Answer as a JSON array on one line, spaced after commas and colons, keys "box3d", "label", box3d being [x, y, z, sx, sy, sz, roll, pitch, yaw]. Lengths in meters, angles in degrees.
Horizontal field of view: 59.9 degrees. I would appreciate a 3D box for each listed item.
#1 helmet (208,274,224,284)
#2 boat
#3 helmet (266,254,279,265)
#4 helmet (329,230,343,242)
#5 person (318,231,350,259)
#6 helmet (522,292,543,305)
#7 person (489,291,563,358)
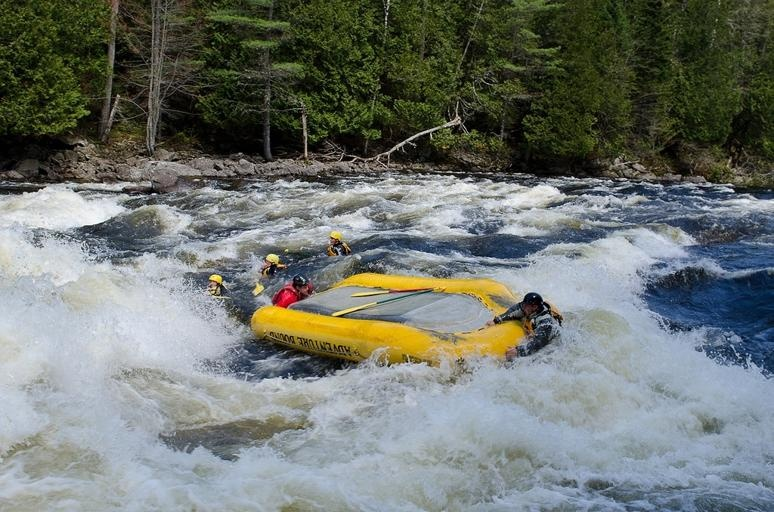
[{"box3d": [-3.853, 0.519, 14.962, 0.282, 0.191, 0.216, 31, 10, 33], "label": "helmet"}, {"box3d": [-0.060, 1.215, 12.799, 3.692, 0.779, 2.662, 1, 5, 27], "label": "boat"}, {"box3d": [-2.766, 0.074, 16.122, 0.325, 0.197, 0.202, 2, 35, -13], "label": "helmet"}, {"box3d": [-1.245, -0.472, 16.756, 0.359, 0.236, 0.233, 4, 33, -18], "label": "helmet"}, {"box3d": [-1.246, -0.325, 16.856, 0.786, 0.643, 0.613, 19, 40, 15], "label": "person"}, {"box3d": [2.696, 0.763, 12.392, 0.308, 0.193, 0.227, 15, 15, 22], "label": "helmet"}, {"box3d": [2.721, 1.275, 12.545, 1.497, 1.152, 0.960, -17, 54, -6], "label": "person"}]
